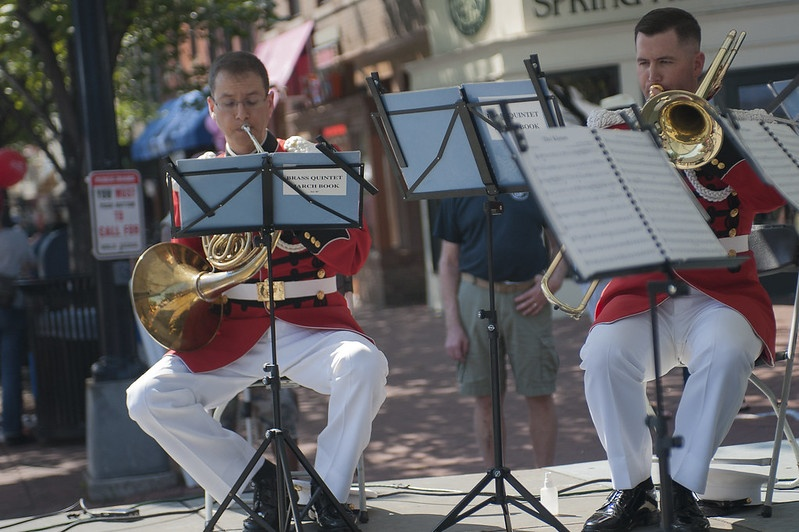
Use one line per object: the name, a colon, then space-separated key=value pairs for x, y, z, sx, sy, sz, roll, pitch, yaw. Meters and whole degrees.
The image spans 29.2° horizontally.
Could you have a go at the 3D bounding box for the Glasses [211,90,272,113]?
Glasses: x=-1.107 y=-1.143 z=10.884 sx=0.228 sy=0.115 sz=0.272 roll=-5 pitch=-14 yaw=-11

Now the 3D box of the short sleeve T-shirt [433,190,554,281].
short sleeve T-shirt: x=0.717 y=-0.207 z=11.681 sx=1.191 sy=0.804 sz=0.605 roll=0 pitch=1 yaw=4

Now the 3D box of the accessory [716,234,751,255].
accessory: x=2.340 y=-0.150 z=10.664 sx=0.151 sy=0.084 sz=0.178 roll=-3 pitch=-10 yaw=7

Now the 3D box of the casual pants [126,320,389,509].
casual pants: x=-0.833 y=0.952 z=10.810 sx=1.906 sy=1.486 sz=0.959 roll=-5 pitch=6 yaw=24

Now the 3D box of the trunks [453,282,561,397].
trunks: x=0.809 y=0.527 z=11.580 sx=0.783 sy=0.917 sz=0.392 roll=-3 pitch=6 yaw=10

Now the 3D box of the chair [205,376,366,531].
chair: x=-0.817 y=1.392 z=11.016 sx=1.121 sy=1.187 sz=1.355 roll=-5 pitch=-1 yaw=-9
